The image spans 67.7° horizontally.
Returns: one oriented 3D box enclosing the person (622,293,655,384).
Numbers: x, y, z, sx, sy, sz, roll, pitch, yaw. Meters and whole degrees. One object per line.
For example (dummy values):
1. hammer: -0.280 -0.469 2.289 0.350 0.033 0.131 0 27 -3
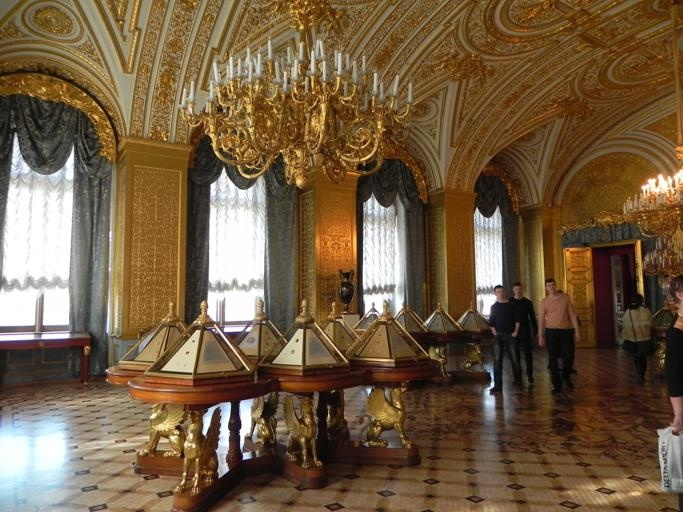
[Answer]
1. person: 4.755 1.313 8.177 0.437 1.381 0.613 1 2 33
